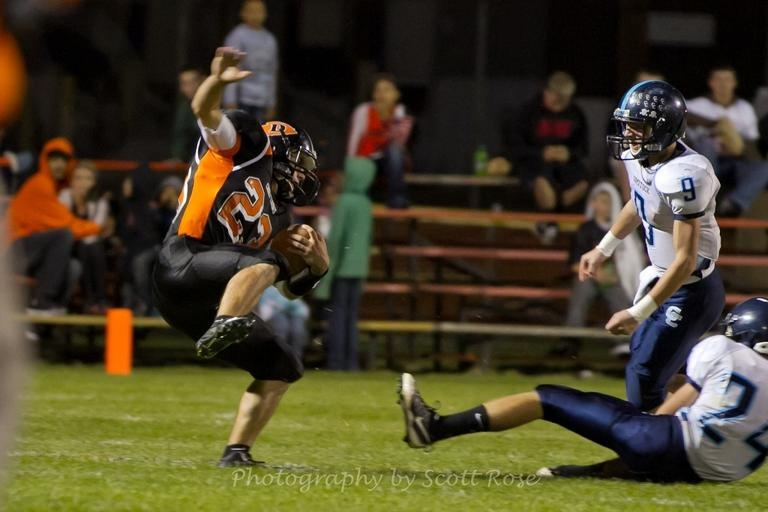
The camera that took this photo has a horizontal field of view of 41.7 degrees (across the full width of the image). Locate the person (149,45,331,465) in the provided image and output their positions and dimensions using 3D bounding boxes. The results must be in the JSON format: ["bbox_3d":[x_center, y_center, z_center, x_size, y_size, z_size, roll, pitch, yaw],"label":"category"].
[{"bbox_3d":[-0.934,0.005,6.623,0.783,2.684,1.002,7,6,36],"label":"person"}]

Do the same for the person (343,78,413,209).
[{"bbox_3d":[-0.029,-1.202,10.283,0.637,1.177,1.091,3,5,-2],"label":"person"}]

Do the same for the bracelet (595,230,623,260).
[{"bbox_3d":[1.671,-0.088,7.526,0.232,0.181,0.082,0,17,-9],"label":"bracelet"}]

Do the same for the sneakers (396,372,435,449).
[{"bbox_3d":[0.214,0.995,6.601,0.296,0.494,0.192,-4,-6,-6],"label":"sneakers"}]

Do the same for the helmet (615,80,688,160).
[{"bbox_3d":[1.800,-0.907,6.825,0.655,0.451,0.488,0,9,-7],"label":"helmet"}]

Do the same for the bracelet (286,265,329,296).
[{"bbox_3d":[-0.515,0.181,6.954,0.241,0.199,0.180,-41,15,-23],"label":"bracelet"}]

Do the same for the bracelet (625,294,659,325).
[{"bbox_3d":[1.690,0.341,6.586,0.168,0.069,0.219,-35,1,-26],"label":"bracelet"}]

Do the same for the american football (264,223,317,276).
[{"bbox_3d":[-0.601,-0.050,6.885,0.390,0.285,0.279,-29,-5,5],"label":"american football"}]

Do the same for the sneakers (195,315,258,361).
[{"bbox_3d":[-0.972,0.470,6.281,0.426,0.183,0.188,-29,34,-6],"label":"sneakers"}]

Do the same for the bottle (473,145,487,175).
[{"bbox_3d":[1.069,-1.051,11.054,0.124,0.323,0.325,2,5,-9],"label":"bottle"}]

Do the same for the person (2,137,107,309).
[{"bbox_3d":[-3.107,-0.312,9.321,0.530,1.554,0.867,4,5,6],"label":"person"}]

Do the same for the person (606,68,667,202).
[{"bbox_3d":[2.741,-1.382,11.426,0.743,1.480,1.254,2,8,0],"label":"person"}]

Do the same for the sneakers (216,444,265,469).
[{"bbox_3d":[-0.901,1.288,6.577,0.347,0.117,0.103,1,-2,-4],"label":"sneakers"}]
